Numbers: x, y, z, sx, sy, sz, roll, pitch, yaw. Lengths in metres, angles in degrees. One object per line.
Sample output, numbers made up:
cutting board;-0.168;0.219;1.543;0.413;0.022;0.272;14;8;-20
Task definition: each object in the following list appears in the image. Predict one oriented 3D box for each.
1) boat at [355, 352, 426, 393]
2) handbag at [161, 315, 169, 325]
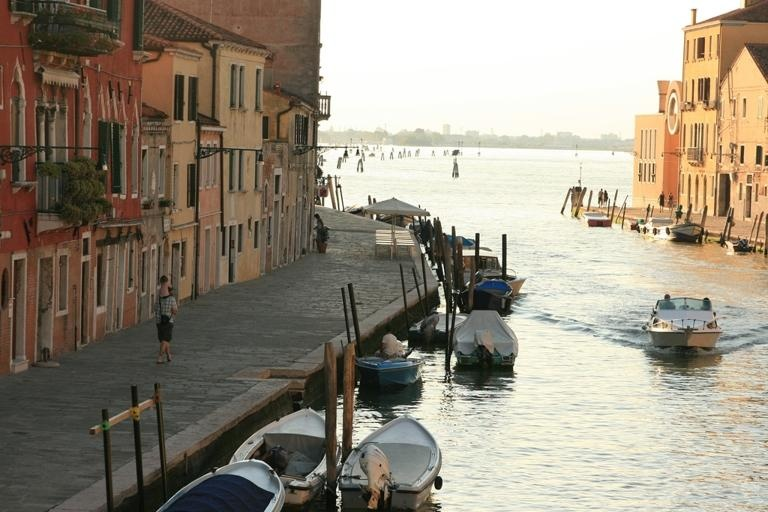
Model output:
boat;0.208;4.766;57.691;1.558;0.751;2.906;1;1;13
handbag;-7.994;2.330;51.997;0.295;0.270;0.070;7;3;0
